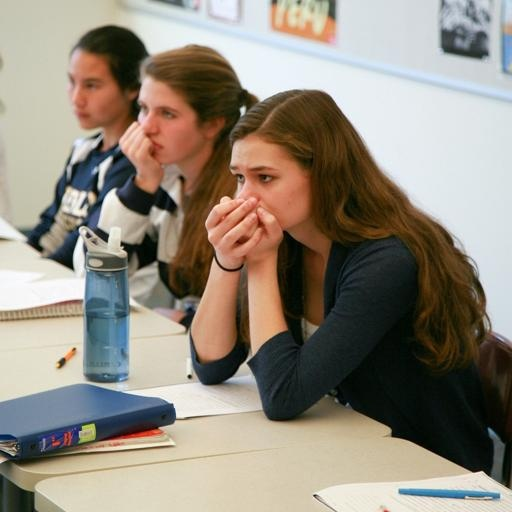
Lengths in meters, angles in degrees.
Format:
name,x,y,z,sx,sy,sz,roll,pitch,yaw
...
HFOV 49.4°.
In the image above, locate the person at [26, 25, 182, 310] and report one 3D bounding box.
name,x,y,z,sx,sy,sz,roll,pitch,yaw
person,-0.705,-0.344,2.357,0.590,1.161,0.612,3,0,39
